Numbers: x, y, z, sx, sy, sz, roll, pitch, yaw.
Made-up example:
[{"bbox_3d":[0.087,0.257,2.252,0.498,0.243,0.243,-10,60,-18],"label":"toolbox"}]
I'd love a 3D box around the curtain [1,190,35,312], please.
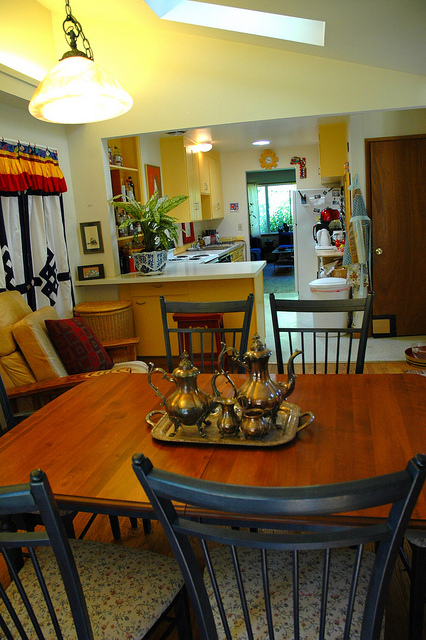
[{"bbox_3d":[-1.412,-0.484,3.079,0.138,0.888,0.467,-6,8,-8],"label":"curtain"}]

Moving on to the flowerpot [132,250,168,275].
[{"bbox_3d":[-0.573,-0.529,3.981,0.239,0.166,0.256,-1,6,0],"label":"flowerpot"}]

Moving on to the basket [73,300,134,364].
[{"bbox_3d":[-0.901,0.076,3.984,0.388,0.437,0.397,-12,16,-16],"label":"basket"}]

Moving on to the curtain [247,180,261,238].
[{"bbox_3d":[1.183,-3.068,12.336,0.117,1.683,0.400,-22,29,-33],"label":"curtain"}]

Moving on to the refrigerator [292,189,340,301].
[{"bbox_3d":[1.629,-1.200,6.773,0.672,1.669,0.509,-3,8,9],"label":"refrigerator"}]

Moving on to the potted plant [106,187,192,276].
[{"bbox_3d":[-0.572,-0.803,4.118,0.687,0.765,0.678,-8,14,-29],"label":"potted plant"}]

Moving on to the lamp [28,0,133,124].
[{"bbox_3d":[-0.676,-1.258,2.149,0.505,0.410,0.403,-7,8,-18],"label":"lamp"}]
